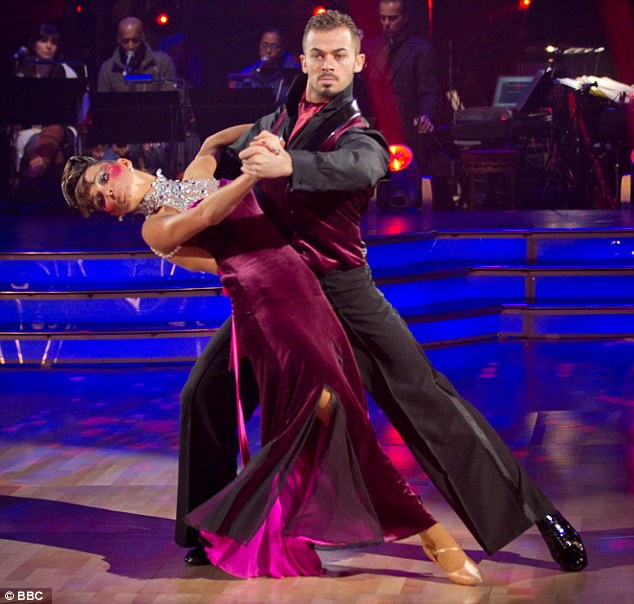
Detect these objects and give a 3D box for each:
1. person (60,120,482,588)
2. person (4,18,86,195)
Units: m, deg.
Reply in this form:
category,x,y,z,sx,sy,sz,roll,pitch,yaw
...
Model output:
category,x,y,z,sx,sy,sz,roll,pitch,yaw
person,-0.152,0.139,1.689,1.049,1.020,0.590,0,5,19
person,-2.836,-2.148,7.330,0.780,1.753,0.792,-6,5,-28
